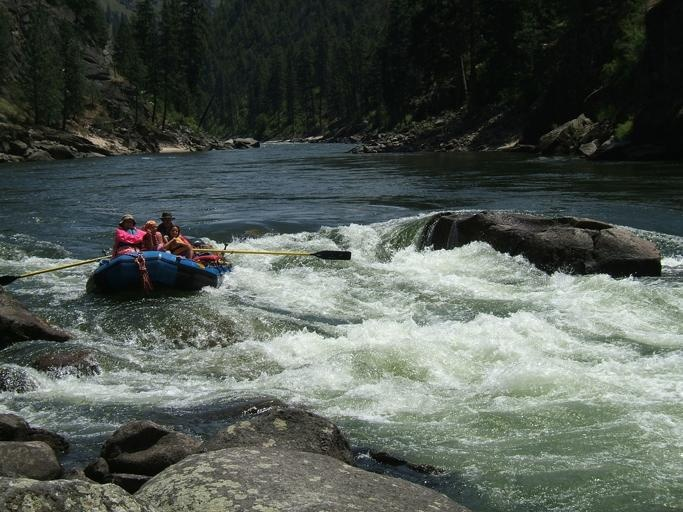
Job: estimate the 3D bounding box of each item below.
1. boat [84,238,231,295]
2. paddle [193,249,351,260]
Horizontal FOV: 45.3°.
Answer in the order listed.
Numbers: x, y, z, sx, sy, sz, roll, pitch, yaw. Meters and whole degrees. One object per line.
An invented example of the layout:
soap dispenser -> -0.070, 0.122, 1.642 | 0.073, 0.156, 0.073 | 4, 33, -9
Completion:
boat -> -3.911, 0.495, 17.284 | 2.442, 0.549, 3.128 | -2, -9, -4
paddle -> -1.575, -0.077, 18.406 | 3.881, 0.272, 0.154 | 2, -13, 5
